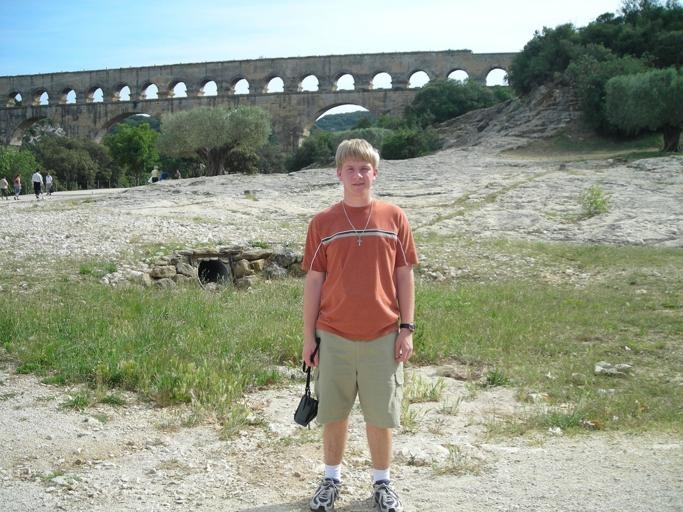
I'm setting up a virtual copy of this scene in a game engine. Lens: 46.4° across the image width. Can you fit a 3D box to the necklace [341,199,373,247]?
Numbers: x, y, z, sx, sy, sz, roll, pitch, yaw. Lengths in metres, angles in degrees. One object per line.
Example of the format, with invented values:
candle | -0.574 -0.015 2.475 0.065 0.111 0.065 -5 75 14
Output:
necklace | 0.169 -0.349 8.860 0.455 0.646 0.070 2 -28 -2
